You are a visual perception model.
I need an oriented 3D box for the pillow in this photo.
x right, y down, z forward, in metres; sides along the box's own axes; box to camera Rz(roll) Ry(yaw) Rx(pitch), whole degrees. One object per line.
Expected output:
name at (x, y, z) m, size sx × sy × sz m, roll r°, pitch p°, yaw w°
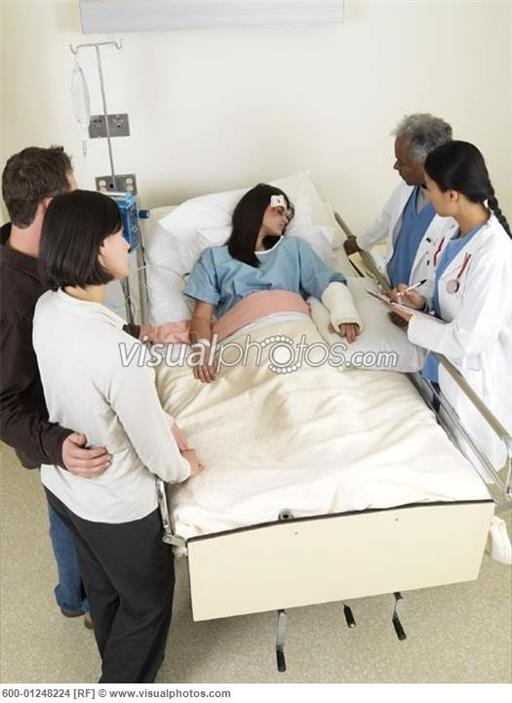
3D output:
pillow at (-0.033, -0.566, 2.311) m, size 0.546 × 0.164 × 0.470 m, roll -19°, pitch 59°, yaw -5°

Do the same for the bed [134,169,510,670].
bed at (0.141, 0.127, 1.611) m, size 0.668 × 0.537 × 1.083 m, roll -7°, pitch 57°, yaw -6°

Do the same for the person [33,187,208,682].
person at (-0.296, 0.243, 1.115) m, size 0.317 × 1.084 × 0.222 m, roll -5°, pitch 27°, yaw -8°
